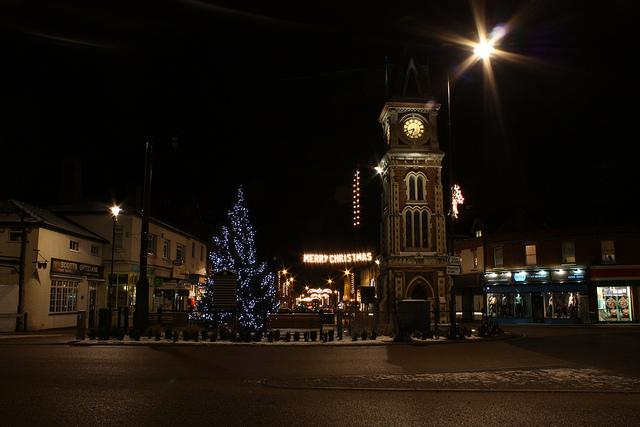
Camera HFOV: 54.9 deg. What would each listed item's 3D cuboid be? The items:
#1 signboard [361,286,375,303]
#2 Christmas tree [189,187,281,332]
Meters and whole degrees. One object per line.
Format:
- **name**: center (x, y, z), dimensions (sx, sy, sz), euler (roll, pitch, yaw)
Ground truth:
- **signboard**: center (3.137, 5.310, 40.171), dimensions (1.016, 0.966, 0.547), euler (1, -9, -2)
- **Christmas tree**: center (-4.910, 3.599, 38.929), dimensions (5.536, 11.887, 6.707), euler (-1, 3, -20)
